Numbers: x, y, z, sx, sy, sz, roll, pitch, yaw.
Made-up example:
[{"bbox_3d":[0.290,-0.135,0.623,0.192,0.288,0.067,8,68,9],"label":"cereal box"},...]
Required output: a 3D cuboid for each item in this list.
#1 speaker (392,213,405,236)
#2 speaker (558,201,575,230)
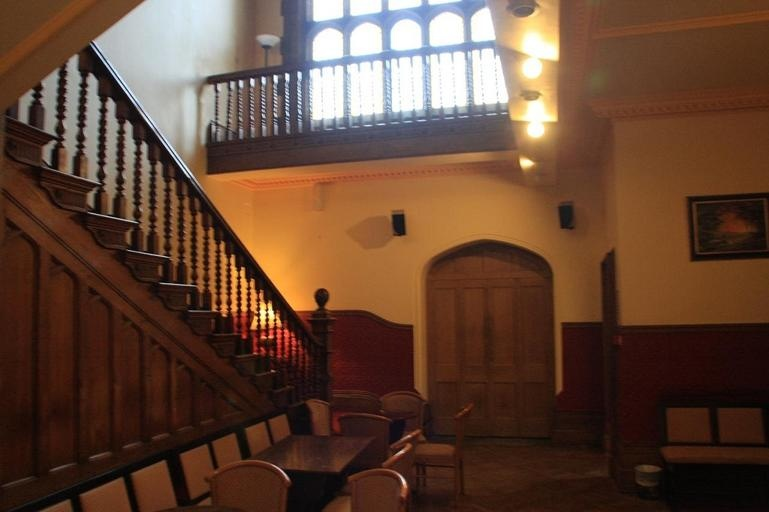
[{"bbox_3d":[0.214,-0.516,10.413,0.220,0.356,0.258,-1,-12,3],"label":"speaker"},{"bbox_3d":[2.731,-0.624,9.805,0.229,0.393,0.261,-4,-12,15],"label":"speaker"}]
